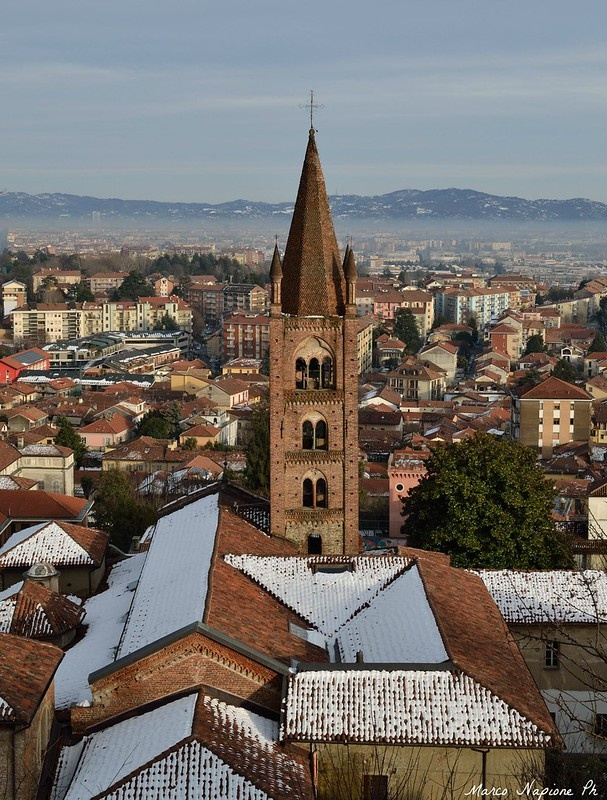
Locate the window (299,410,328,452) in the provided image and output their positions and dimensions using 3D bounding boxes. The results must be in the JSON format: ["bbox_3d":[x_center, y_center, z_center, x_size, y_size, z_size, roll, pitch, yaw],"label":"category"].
[{"bbox_3d":[0.180,0.659,20.763,0.809,1.164,0.090,0,0,-7],"label":"window"}]

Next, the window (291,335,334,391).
[{"bbox_3d":[0.194,-0.750,20.492,0.889,1.264,0.079,0,-19,-4],"label":"window"}]
